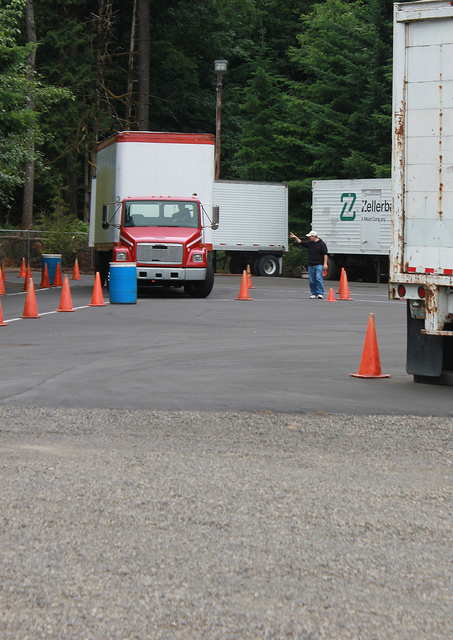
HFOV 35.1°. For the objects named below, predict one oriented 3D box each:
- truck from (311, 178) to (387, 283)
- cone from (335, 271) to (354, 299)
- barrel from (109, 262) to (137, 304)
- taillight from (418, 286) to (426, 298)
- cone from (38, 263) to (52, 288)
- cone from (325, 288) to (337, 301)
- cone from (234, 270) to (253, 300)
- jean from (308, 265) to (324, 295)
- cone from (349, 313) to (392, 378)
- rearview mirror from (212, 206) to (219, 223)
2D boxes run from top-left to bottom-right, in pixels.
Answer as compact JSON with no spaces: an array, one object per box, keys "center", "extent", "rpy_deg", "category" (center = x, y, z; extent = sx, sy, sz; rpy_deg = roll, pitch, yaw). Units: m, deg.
[{"center":[6.910,-4.400,35.749],"extent":[5.070,5.092,2.911],"rpy_deg":[4,4,30],"category":"truck"},{"center":[3.760,-1.076,23.010],"extent":[0.624,0.780,0.642],"rpy_deg":[4,6,34],"category":"cone"},{"center":[-2.799,-1.005,19.472],"extent":[0.706,1.132,0.699],"rpy_deg":[0,4,0],"category":"barrel"},{"center":[2.121,-0.312,7.876],"extent":[0.022,0.099,0.096],"rpy_deg":[4,7,-29],"category":"taillight"},{"center":[-6.730,-1.551,26.428],"extent":[0.529,0.971,0.565],"rpy_deg":[3,-5,-10],"category":"cone"},{"center":[3.134,-0.756,21.766],"extent":[0.273,0.337,0.282],"rpy_deg":[7,-7,-25],"category":"cone"},{"center":[0.557,-1.043,21.896],"extent":[0.644,0.838,0.706],"rpy_deg":[-1,6,-29],"category":"cone"},{"center":[2.759,-1.267,22.452],"extent":[0.429,0.931,0.505],"rpy_deg":[0,4,9],"category":"jean"},{"center":[1.875,0.301,8.771],"extent":[0.588,0.960,0.664],"rpy_deg":[-2,9,-9],"category":"cone"},{"center":[-0.403,-3.216,21.891],"extent":[0.145,0.494,0.389],"rpy_deg":[-3,5,-35],"category":"rearview mirror"}]
